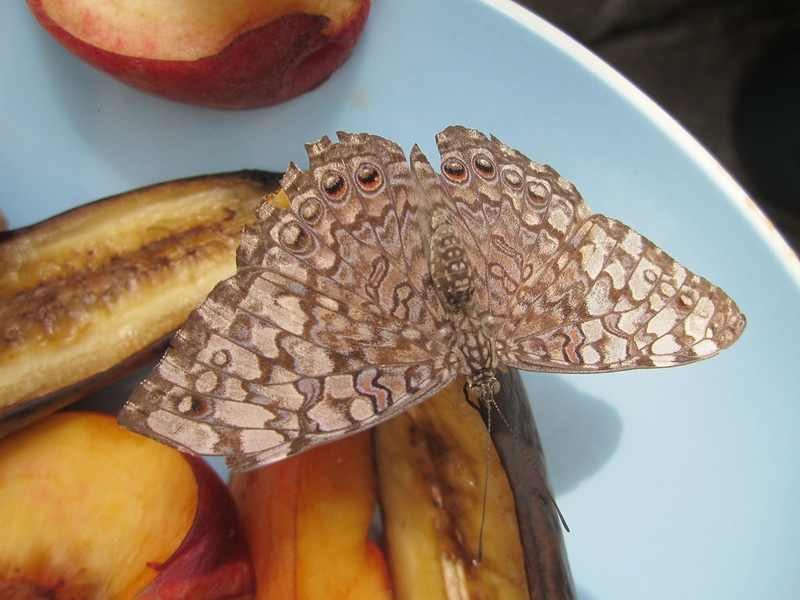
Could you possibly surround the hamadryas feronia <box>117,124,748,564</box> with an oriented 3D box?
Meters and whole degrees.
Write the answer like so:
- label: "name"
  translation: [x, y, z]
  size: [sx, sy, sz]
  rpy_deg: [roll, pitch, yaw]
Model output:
- label: "hamadryas feronia"
  translation: [0.027, 0.016, 0.968]
  size: [0.663, 0.153, 0.403]
  rpy_deg: [-9, 71, -15]
